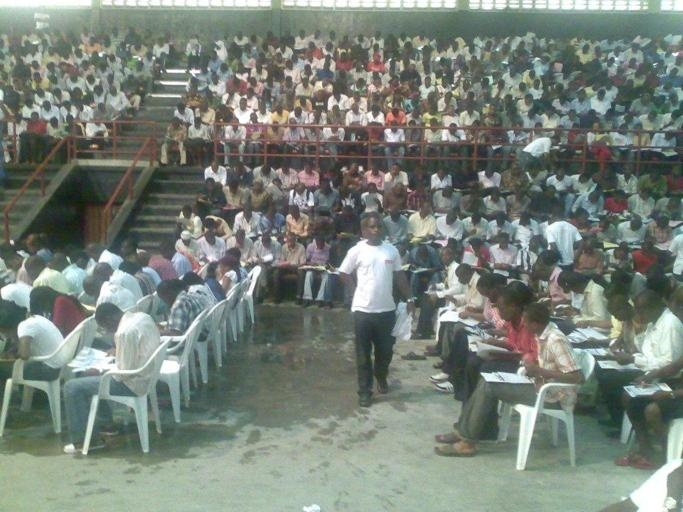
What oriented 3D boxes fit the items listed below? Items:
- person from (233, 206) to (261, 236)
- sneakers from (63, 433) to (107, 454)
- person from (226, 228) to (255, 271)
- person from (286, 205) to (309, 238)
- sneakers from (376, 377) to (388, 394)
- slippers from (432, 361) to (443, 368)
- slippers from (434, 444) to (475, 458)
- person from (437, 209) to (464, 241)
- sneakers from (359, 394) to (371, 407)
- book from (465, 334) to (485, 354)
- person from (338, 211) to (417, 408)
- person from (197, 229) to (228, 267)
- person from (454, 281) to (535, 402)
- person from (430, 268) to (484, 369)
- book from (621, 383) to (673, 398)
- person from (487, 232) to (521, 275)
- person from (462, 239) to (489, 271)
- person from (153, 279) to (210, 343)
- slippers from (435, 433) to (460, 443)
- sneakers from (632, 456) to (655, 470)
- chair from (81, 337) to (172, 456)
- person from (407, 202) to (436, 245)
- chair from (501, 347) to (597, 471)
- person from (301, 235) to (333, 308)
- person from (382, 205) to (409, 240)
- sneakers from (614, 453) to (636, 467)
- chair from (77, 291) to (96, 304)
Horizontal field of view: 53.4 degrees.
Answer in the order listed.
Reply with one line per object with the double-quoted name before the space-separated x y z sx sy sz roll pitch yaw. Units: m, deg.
"person" -2.084 -0.768 15.307 0.671 1.047 0.592 0 10 -8
"sneakers" -3.038 2.235 8.051 0.297 0.090 0.204 -14 30 -12
"person" -2.066 -0.136 13.910 0.663 1.128 0.640 0 43 -10
"person" -1.018 -0.795 15.440 0.575 0.804 0.508 -4 18 3
"sneakers" 0.587 1.788 9.566 0.096 0.115 0.269 0 34 1
"slippers" 1.504 1.678 10.593 0.138 0.068 0.176 1 4 2
"slippers" 1.336 2.263 7.979 0.357 0.131 0.194 5 3 5
"person" 2.388 -0.642 14.996 0.626 0.947 0.549 1 -4 30
"sneakers" 0.323 1.922 9.161 0.143 0.110 0.146 -3 5 -2
"book" 1.725 1.129 8.753 0.183 0.076 0.187 7 13 -22
"person" 0.490 0.644 9.321 0.823 2.548 0.701 -7 15 -27
"person" -2.782 -0.137 14.493 0.690 0.920 0.582 -6 24 -14
"person" 1.952 1.157 8.708 1.025 1.744 0.801 -5 25 -13
"person" 1.836 0.727 10.608 0.766 1.292 0.507 -5 25 -6
"book" 3.434 1.490 7.638 0.294 0.083 0.223 -2 4 -5
"person" 3.314 -0.047 13.928 0.690 0.922 0.691 -11 15 -30
"person" 2.602 -0.034 13.115 0.468 0.844 0.453 -3 14 9
"person" -2.272 0.645 9.531 0.518 0.727 0.930 -6 13 4
"slippers" 1.287 2.173 8.215 0.256 0.098 0.122 5 9 11
"sneakers" 3.414 2.317 7.647 0.161 0.065 0.120 3 2 -12
"chair" -2.787 1.688 8.674 1.144 1.660 1.226 6 -1 0
"person" 1.779 -0.713 15.067 0.681 1.088 0.808 6 7 18
"chair" 2.604 1.726 8.507 1.172 1.675 1.251 2 3 0
"person" -0.536 0.251 14.539 0.636 1.415 0.957 0 13 -2
"person" 1.194 -0.669 15.108 0.566 0.841 0.546 -2 10 -3
"sneakers" 3.272 2.314 7.785 0.270 0.121 0.095 2 4 17
"chair" -3.868 0.617 10.324 0.217 0.199 0.171 -8 8 22
